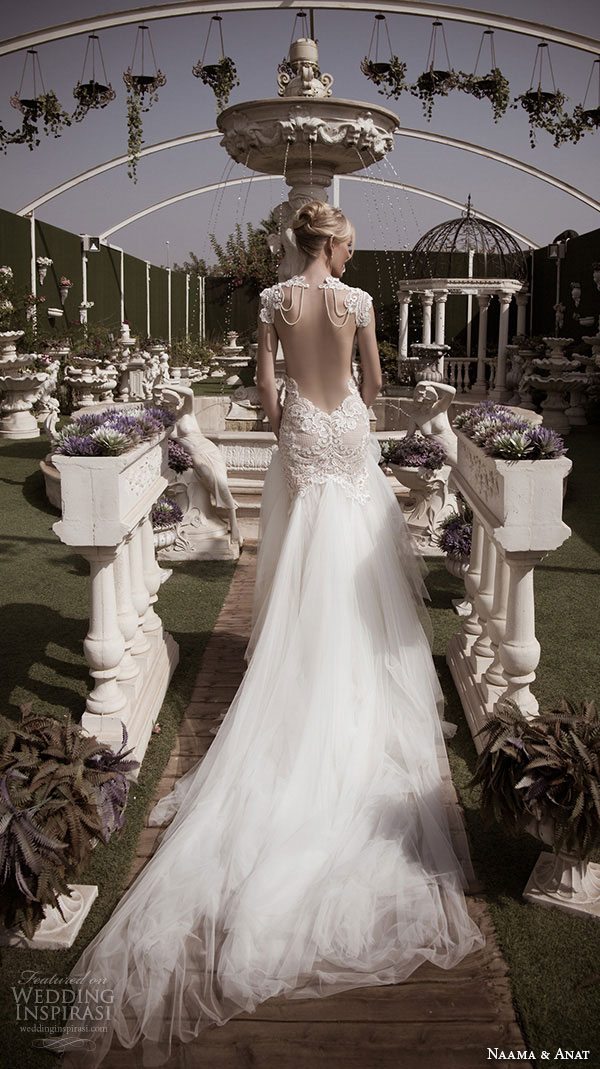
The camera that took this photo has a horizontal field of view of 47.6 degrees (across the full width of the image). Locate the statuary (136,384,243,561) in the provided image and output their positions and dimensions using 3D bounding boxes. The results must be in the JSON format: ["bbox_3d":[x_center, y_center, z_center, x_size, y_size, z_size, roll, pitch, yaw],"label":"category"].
[{"bbox_3d":[-0.870,-0.528,5.693,0.912,1.463,0.922,8,11,15],"label":"statuary"}]
